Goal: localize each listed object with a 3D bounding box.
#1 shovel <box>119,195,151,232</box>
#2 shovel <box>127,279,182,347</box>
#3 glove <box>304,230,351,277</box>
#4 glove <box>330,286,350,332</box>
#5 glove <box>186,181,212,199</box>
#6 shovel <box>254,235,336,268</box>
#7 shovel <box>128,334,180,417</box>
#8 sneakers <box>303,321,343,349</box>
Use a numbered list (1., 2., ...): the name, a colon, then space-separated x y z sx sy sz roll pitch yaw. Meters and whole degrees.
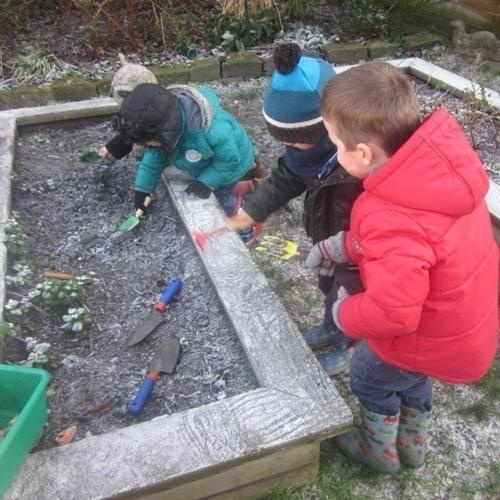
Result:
1. shovel: -0.608 -0.212 2.731 0.091 0.039 0.291 25 41 7
2. shovel: -0.381 0.247 2.323 0.102 0.091 0.484 20 45 21
3. glove: 0.305 0.018 1.930 0.193 0.148 0.079 -35 83 -24
4. glove: 0.320 0.218 1.762 0.048 0.132 0.109 3 12 12
5. glove: -0.266 -0.316 2.596 0.115 0.033 0.104 21 57 12
6. shovel: 0.184 0.011 3.026 0.255 0.048 0.167 15 38 9
7. shovel: -0.384 0.505 2.037 0.109 0.044 0.337 9 37 20
8. sneakers: 0.357 0.431 2.453 0.234 0.196 0.085 -1 59 -7
